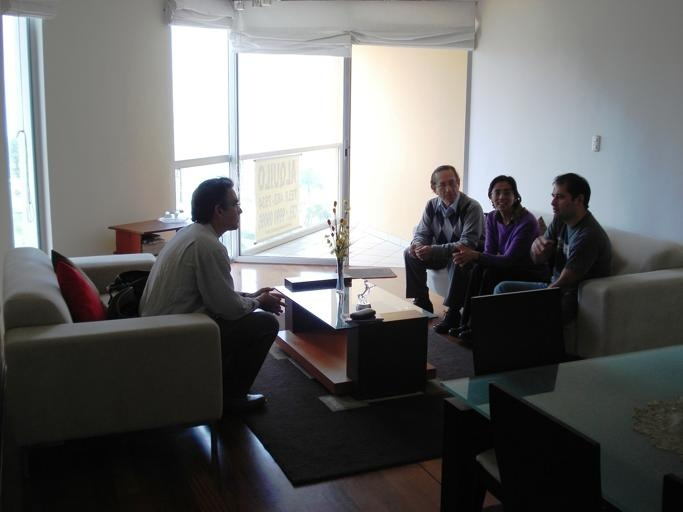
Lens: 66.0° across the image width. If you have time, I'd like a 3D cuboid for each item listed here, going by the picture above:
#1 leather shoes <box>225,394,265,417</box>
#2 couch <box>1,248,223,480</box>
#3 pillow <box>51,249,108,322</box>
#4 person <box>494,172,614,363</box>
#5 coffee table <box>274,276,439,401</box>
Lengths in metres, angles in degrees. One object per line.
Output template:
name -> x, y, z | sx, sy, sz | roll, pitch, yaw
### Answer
leather shoes -> -0.577, 0.882, 3.219 | 0.254, 0.122, 0.094 | -7, 10, -32
couch -> -1.186, 0.367, 2.676 | 0.698, 0.631, 1.312 | -4, 11, -22
pillow -> -1.491, 0.151, 3.024 | 0.234, 0.475, 0.517 | -2, 18, -22
person -> 1.490, 0.135, 3.882 | 0.777, 1.461, 0.614 | 1, 17, 0
coffee table -> 0.164, 0.619, 3.510 | 0.622, 0.428, 1.117 | -5, 14, -20
